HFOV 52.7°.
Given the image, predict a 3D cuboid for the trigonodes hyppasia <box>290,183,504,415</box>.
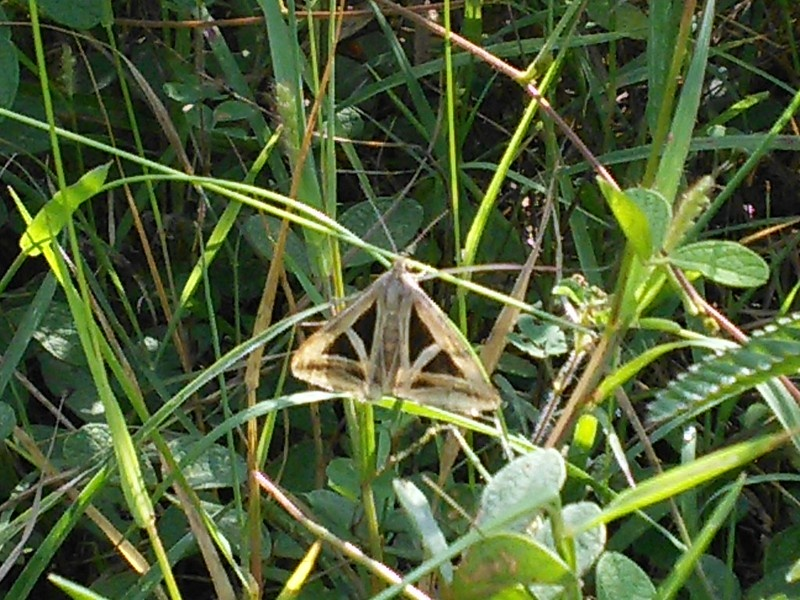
[{"bbox_3d":[-0.025,0.116,1.995,0.506,0.264,0.348,-7,48,3],"label":"trigonodes hyppasia"}]
